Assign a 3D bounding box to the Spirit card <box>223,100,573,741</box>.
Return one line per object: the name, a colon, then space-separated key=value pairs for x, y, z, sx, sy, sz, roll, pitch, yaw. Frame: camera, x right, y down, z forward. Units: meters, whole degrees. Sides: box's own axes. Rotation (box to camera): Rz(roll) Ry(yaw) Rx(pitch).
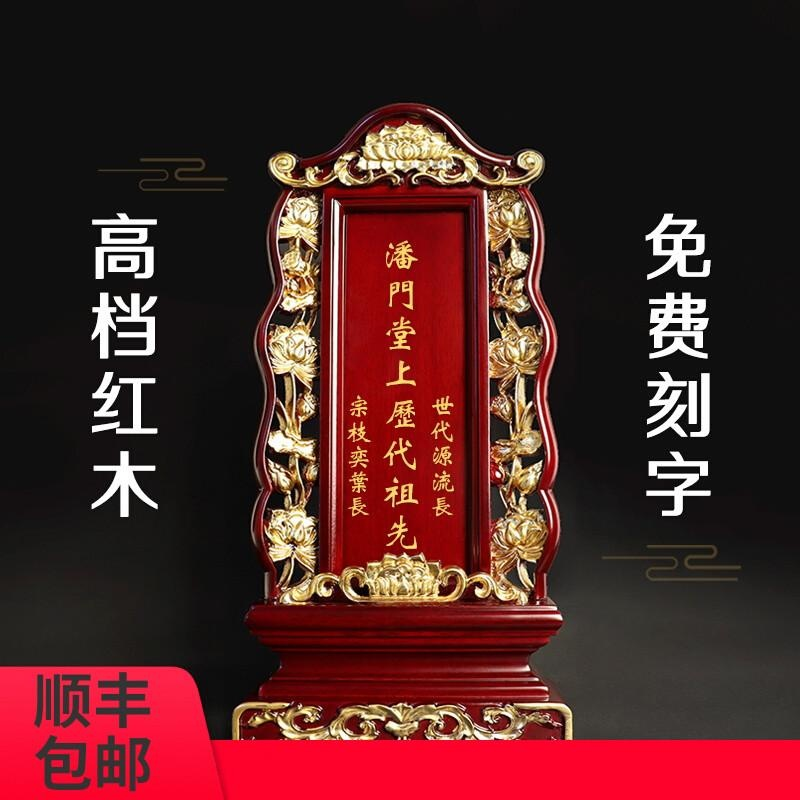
Spirit card: x=0.004 y=0.029 z=2.811 sx=0.747 sy=1.426 sz=0.481 roll=0 pitch=8 yaw=0
